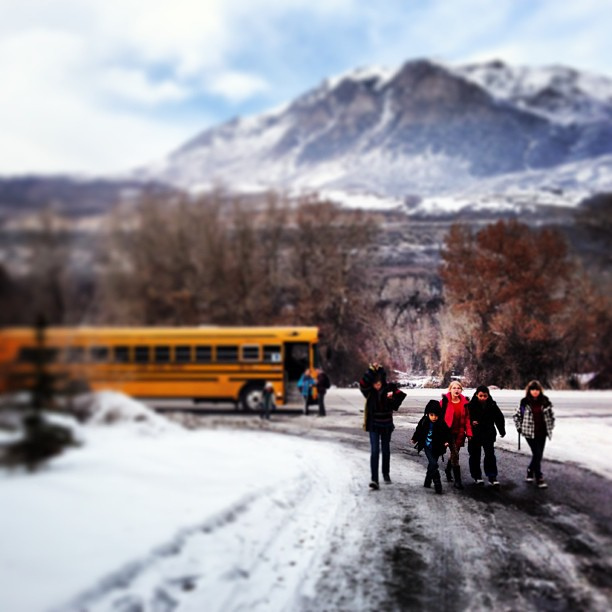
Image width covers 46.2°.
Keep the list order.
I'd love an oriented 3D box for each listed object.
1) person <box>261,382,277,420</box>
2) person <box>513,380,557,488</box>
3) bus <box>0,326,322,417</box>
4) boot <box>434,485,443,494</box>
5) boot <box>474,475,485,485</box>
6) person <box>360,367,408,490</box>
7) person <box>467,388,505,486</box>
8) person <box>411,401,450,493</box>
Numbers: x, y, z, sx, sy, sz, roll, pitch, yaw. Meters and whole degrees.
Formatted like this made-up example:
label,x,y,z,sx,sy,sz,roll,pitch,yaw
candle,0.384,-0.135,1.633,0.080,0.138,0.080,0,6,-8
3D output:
label,x,y,z,sx,sy,sz,roll,pitch,yaw
person,-0.918,2.389,17.867,0.339,0.941,0.774,3,3,-2
person,3.268,1.832,10.285,0.525,1.483,0.364,4,3,19
bus,-2.448,1.314,17.632,5.734,2.007,2.121,0,-1,-8
boot,1.820,2.529,9.821,0.074,0.093,0.151,-5,-13,9
boot,2.525,2.534,10.405,0.088,0.049,0.143,4,23,-3
person,1.052,1.705,10.020,0.608,1.681,0.594,3,3,6
person,2.606,1.895,10.333,0.503,1.401,0.599,3,3,16
person,1.752,1.947,10.049,0.481,1.291,0.492,4,3,25
